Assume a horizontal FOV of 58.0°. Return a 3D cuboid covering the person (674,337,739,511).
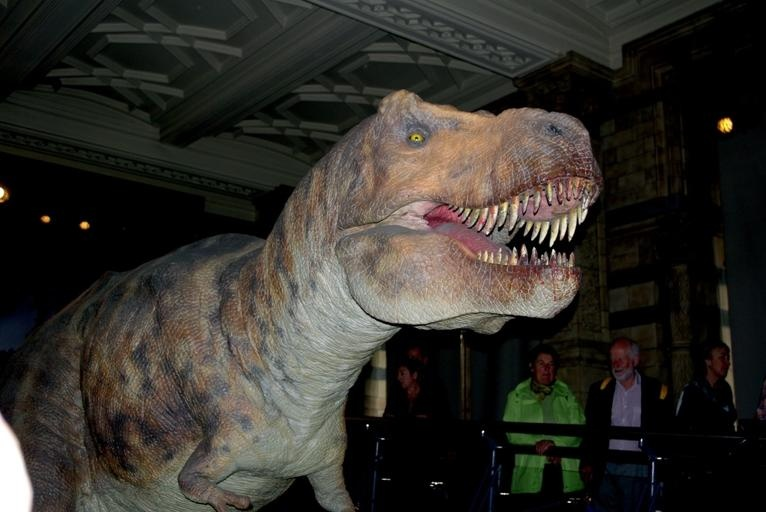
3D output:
[{"bbox_3d":[2.136,1.055,4.504,0.467,0.896,0.280,19,-22,-24],"label":"person"}]
